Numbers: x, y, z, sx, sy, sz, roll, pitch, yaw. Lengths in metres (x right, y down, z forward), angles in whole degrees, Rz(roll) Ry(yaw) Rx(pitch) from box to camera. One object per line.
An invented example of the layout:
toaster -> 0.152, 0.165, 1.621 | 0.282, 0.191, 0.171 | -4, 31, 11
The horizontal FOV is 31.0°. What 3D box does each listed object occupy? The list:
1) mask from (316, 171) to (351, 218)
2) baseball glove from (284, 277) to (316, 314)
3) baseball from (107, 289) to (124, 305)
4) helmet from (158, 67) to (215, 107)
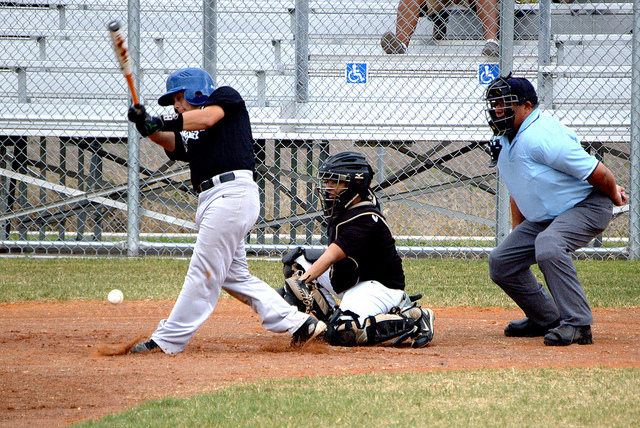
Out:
mask -> 0.184, -0.183, 12.162 | 0.335, 0.475, 0.309 | 8, 0, 39
baseball glove -> -0.189, 0.862, 12.153 | 0.247, 0.495, 0.194 | -21, -28, -12
baseball -> -2.379, 0.977, 13.485 | 0.162, 0.160, 0.163 | -5, -10, 23
helmet -> -1.315, -1.266, 12.011 | 0.614, 0.436, 0.445 | -7, -14, -2
